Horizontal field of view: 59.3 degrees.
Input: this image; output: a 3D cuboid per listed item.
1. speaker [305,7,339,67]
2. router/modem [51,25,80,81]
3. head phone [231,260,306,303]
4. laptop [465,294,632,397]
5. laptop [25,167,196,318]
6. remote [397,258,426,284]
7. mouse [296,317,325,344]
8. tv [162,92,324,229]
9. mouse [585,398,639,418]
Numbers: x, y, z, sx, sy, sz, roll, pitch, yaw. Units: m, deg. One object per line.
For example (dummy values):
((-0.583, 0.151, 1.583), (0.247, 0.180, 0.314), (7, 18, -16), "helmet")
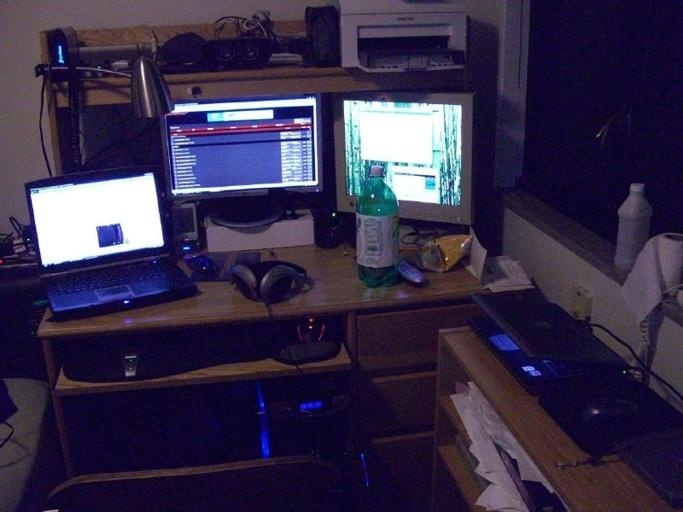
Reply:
((-0.067, -0.771, 2.122), (0.144, 0.194, 0.058), (0, 7, -7), "speaker")
((-0.981, -0.692, 2.076), (0.120, 0.169, 0.059), (-11, 25, -38), "router/modem")
((-0.224, 0.066, 1.998), (0.248, 0.109, 0.175), (-17, 26, -25), "head phone")
((0.586, 0.217, 1.687), (0.329, 0.126, 0.385), (-6, 23, -10), "laptop")
((-0.809, -0.046, 2.081), (0.584, 0.426, 0.525), (-16, 36, -26), "laptop")
((0.239, 0.053, 2.009), (0.051, 0.024, 0.101), (-3, 38, -30), "remote")
((-0.101, 0.243, 1.959), (0.083, 0.079, 0.083), (-5, 29, -8), "mouse")
((-0.377, -0.373, 2.251), (0.549, 0.332, 0.042), (-3, 23, -4), "tv")
((0.650, 0.363, 1.432), (0.091, 0.022, 0.052), (-3, 12, 6), "mouse")
